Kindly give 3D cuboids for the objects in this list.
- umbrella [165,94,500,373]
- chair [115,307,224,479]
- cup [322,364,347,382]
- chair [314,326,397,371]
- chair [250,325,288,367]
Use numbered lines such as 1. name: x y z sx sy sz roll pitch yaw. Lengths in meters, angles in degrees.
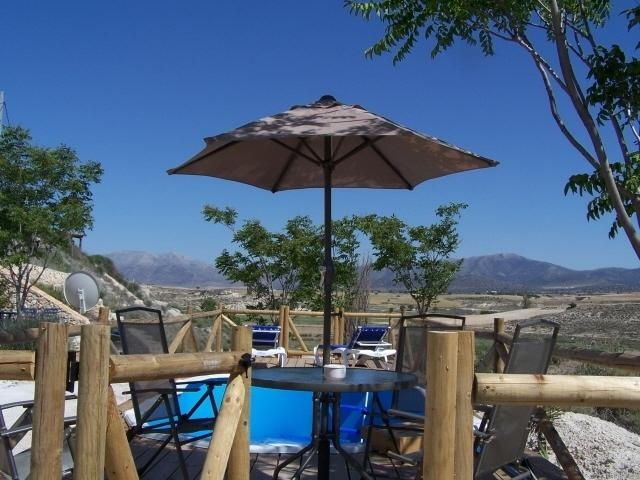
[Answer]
1. umbrella: 0.148 0.141 4.246 2.920 2.418 2.770 3 6 44
2. chair: -1.309 1.309 3.518 0.891 1.475 1.362 4 -5 -26
3. cup: 0.116 0.980 3.045 0.165 0.121 0.216 2 -5 1
4. chair: 0.772 2.112 7.866 0.797 0.791 1.394 10 -15 -19
5. chair: -1.121 2.078 8.061 0.705 0.717 0.870 3 -15 -21
